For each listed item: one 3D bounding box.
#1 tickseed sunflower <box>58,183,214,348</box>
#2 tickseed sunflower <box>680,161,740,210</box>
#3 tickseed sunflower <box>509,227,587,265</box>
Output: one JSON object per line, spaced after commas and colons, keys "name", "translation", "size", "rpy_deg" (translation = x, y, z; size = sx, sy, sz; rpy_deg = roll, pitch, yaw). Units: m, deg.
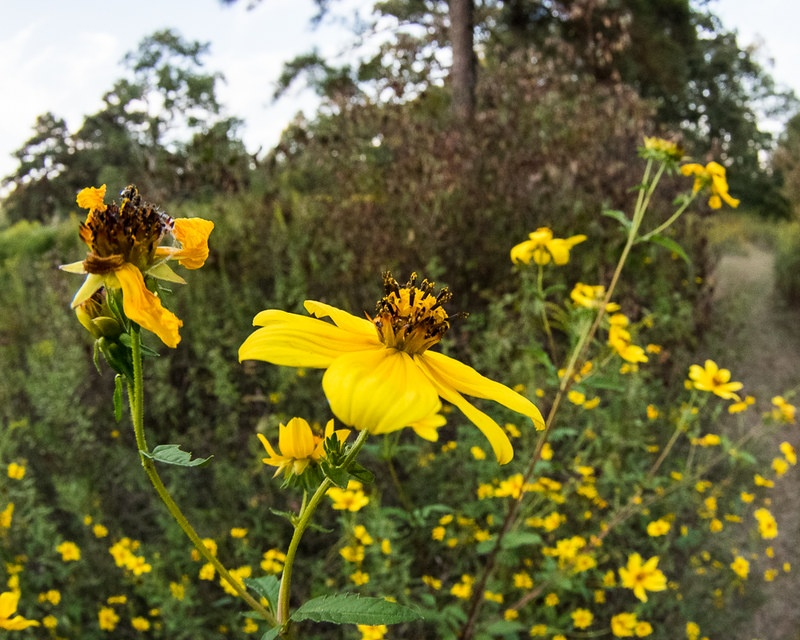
{"name": "tickseed sunflower", "translation": [-0.876, -0.163, 2.604], "size": [0.447, 0.513, 0.277], "rpy_deg": [-7, 9, 6]}
{"name": "tickseed sunflower", "translation": [1.253, -0.545, 3.104], "size": [0.195, 0.197, 0.368], "rpy_deg": [-4, 11, 23]}
{"name": "tickseed sunflower", "translation": [0.603, -0.296, 3.100], "size": [0.288, 0.154, 0.245], "rpy_deg": [-6, 10, 15]}
